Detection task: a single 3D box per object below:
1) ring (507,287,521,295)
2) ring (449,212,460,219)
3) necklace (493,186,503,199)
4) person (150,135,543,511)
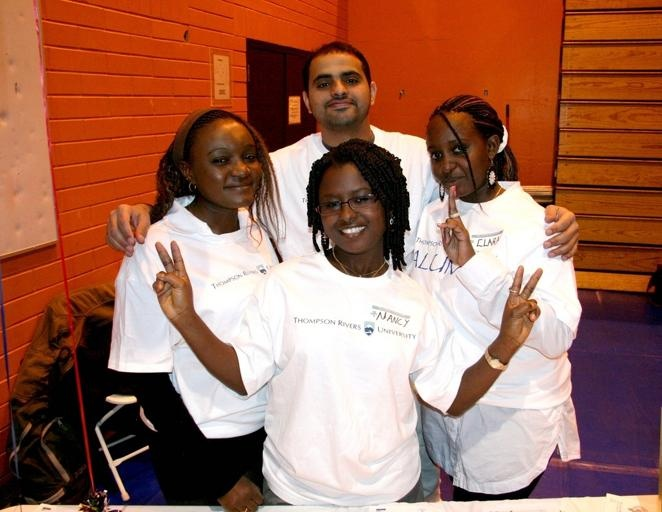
[{"bbox_3d":[0.569,0.109,1.639,0.032,0.025,0.025,-27,-23,13],"label":"ring"},{"bbox_3d":[0.411,-0.142,1.772,0.026,0.008,0.025,-6,14,2],"label":"ring"},{"bbox_3d":[0.637,-0.239,2.025,0.037,0.043,0.048,-3,53,18],"label":"necklace"},{"bbox_3d":[0.045,0.219,1.721,1.174,1.156,0.462,-3,15,-10],"label":"person"}]
